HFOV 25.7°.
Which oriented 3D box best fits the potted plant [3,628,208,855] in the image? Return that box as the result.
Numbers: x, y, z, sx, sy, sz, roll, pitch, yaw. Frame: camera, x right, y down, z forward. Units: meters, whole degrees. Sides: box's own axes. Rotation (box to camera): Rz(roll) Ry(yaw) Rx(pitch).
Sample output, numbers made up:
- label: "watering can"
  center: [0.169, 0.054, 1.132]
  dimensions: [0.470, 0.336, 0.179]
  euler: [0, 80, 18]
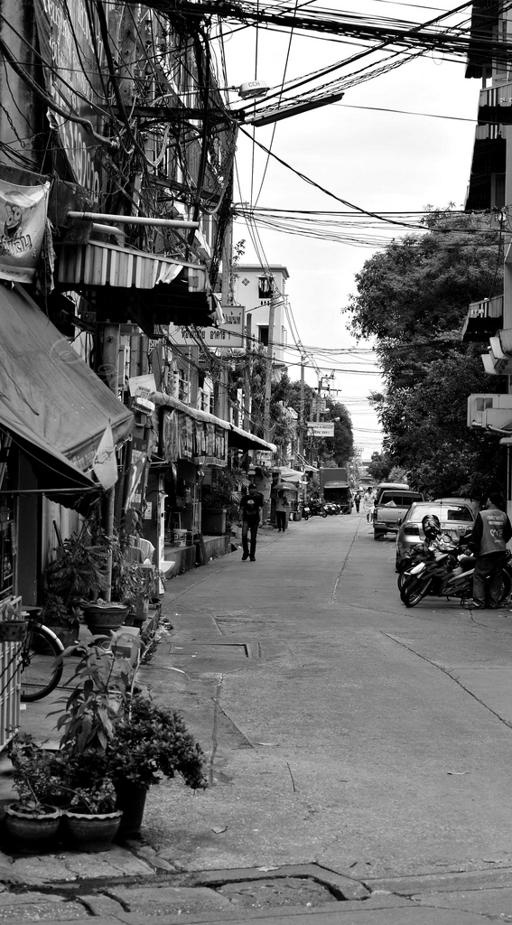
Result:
- label: "potted plant"
  center: [-0.781, 1.348, 5.273]
  dimensions: [0.966, 0.826, 0.700]
  euler: [4, -3, -45]

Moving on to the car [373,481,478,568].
- label: "car"
  center: [3.654, 1.628, 23.539]
  dimensions: [1.423, 1.390, 3.499]
  euler: [0, 5, 4]

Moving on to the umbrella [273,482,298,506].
- label: "umbrella"
  center: [1.388, 1.495, 54.633]
  dimensions: [1.146, 1.266, 1.293]
  euler: [-1, -10, 6]

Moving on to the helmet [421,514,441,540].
- label: "helmet"
  center: [2.871, 1.040, 18.274]
  dimensions: [0.341, 0.298, 0.504]
  euler: [-23, 15, 12]

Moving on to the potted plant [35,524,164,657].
- label: "potted plant"
  center: [-1.580, 1.236, 10.913]
  dimensions: [0.550, 1.139, 1.040]
  euler: [11, 2, 34]

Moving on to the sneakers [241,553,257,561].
- label: "sneakers"
  center: [-0.181, 2.264, 26.836]
  dimensions: [0.407, 0.223, 0.137]
  euler: [-4, 5, 36]

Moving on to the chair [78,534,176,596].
- label: "chair"
  center: [-1.515, 1.132, 12.118]
  dimensions: [0.819, 0.548, 0.710]
  euler: [-7, 22, -42]
